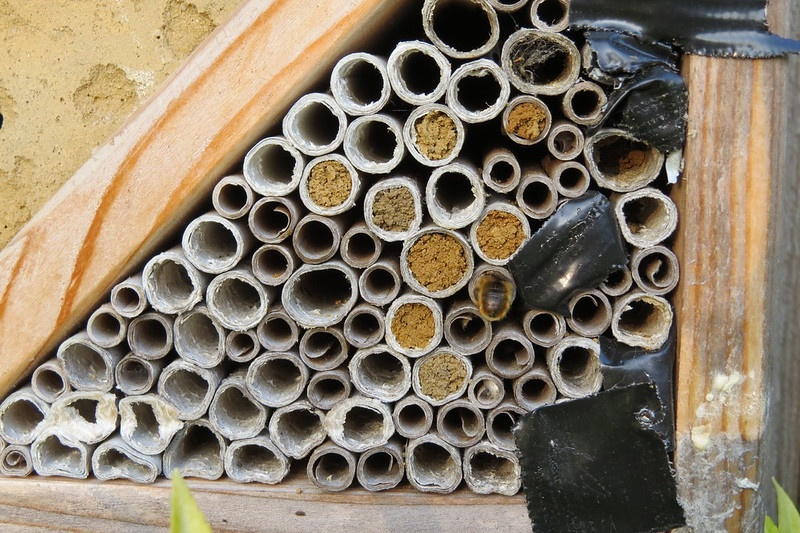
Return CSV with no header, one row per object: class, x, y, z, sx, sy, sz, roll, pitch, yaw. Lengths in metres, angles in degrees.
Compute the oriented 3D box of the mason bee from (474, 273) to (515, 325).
mason bee,0.417,0.130,7.136,0.206,0.247,0.079,6,-42,25
